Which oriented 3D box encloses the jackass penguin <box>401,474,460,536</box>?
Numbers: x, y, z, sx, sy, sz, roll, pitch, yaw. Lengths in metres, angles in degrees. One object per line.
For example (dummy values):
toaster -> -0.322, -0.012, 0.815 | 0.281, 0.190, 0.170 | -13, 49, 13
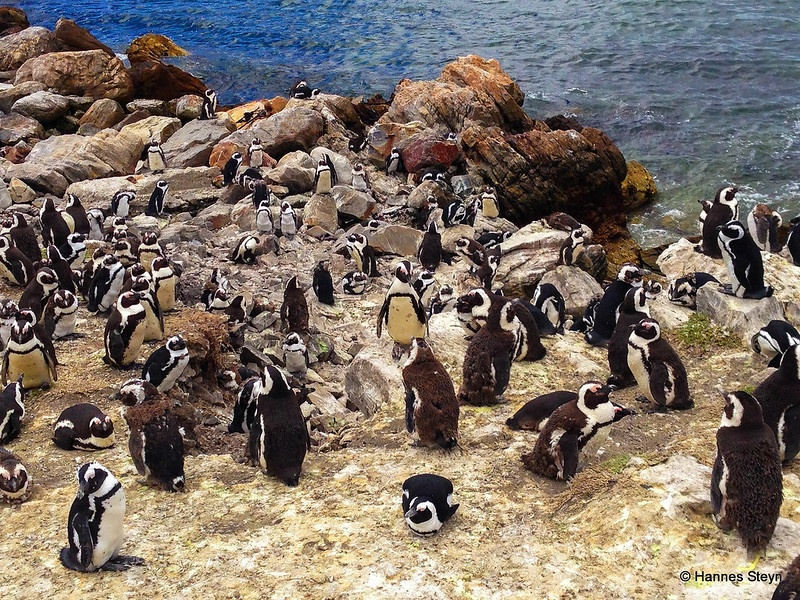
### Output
jackass penguin -> 0.333, 2.350, 10.491 | 0.727, 0.549, 0.878 | -4, 38, 10
